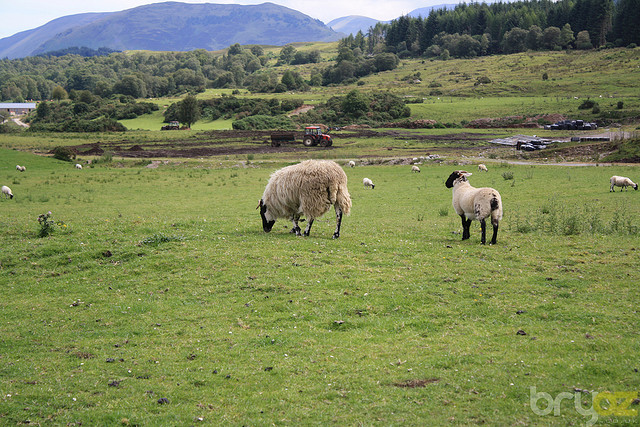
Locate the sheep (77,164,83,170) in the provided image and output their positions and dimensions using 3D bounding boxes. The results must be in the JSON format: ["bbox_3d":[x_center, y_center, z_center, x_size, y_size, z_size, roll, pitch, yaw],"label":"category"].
[{"bbox_3d":[-25.467,-4.974,69.585,0.317,0.585,1.200,7,13,-27],"label":"sheep"}]

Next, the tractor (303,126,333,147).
[{"bbox_3d":[-0.528,-11.280,96.541,3.950,2.702,1.514,6,8,33],"label":"tractor"}]

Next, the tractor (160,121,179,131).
[{"bbox_3d":[-32.107,-18.833,142.431,4.855,2.190,2.269,4,8,8],"label":"tractor"}]

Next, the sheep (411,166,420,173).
[{"bbox_3d":[9.569,-4.449,65.925,0.763,0.569,1.860,2,6,5],"label":"sheep"}]

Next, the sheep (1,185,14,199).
[{"bbox_3d":[-23.535,-1.617,49.318,0.766,0.785,1.453,-2,7,-25],"label":"sheep"}]

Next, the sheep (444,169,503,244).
[{"bbox_3d":[9.401,-0.370,40.141,1.467,4.194,3.504,-1,7,-22],"label":"sheep"}]
